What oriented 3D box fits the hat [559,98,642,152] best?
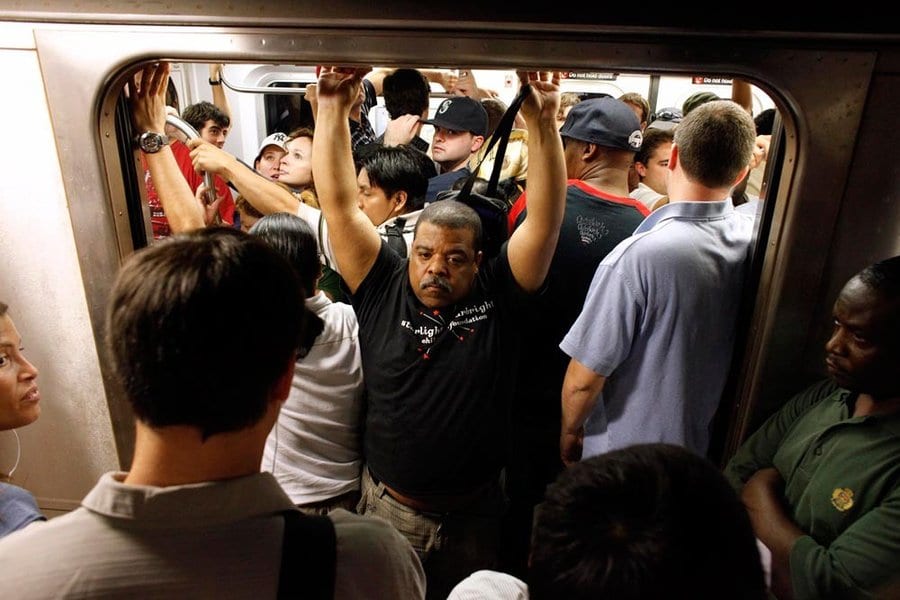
[{"bbox_3d":[0.702,-0.824,2.941,0.359,0.250,0.485,-5,18,-32],"label":"hat"}]

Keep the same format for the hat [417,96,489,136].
[{"bbox_3d":[0.035,-0.992,3.425,0.288,0.147,0.206,7,14,-39],"label":"hat"}]

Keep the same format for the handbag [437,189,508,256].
[{"bbox_3d":[0.100,-0.299,2.635,0.308,0.218,0.312,1,7,-13],"label":"handbag"}]
